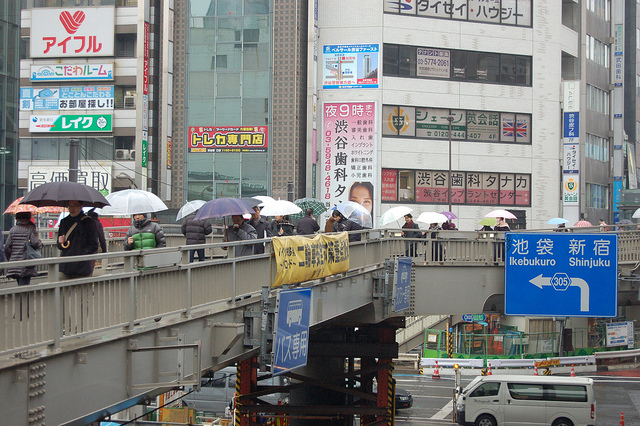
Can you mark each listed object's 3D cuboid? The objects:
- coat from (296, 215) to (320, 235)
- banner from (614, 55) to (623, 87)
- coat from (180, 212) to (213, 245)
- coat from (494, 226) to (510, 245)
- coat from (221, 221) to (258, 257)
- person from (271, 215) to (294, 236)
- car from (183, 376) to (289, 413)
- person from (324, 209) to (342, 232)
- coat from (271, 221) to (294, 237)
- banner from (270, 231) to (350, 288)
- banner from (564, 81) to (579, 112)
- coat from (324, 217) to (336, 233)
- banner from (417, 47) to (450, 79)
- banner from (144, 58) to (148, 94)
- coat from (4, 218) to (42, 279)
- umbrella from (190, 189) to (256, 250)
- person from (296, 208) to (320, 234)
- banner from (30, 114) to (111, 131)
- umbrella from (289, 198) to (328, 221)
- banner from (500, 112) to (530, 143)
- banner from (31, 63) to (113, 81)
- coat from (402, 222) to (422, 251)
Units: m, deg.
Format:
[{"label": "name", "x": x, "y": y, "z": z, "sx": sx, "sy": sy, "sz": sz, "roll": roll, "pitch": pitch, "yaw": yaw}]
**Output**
[{"label": "coat", "x": -0.676, "y": 0.625, "z": 85.536, "sx": 1.681, "sy": 1.238, "sz": 0.864, "roll": 1, "pitch": 10, "yaw": 6}, {"label": "banner", "x": 23.520, "y": -11.160, "z": 125.790, "sx": 0.630, "sy": 2.538, "sz": 1.070, "roll": 1, "pitch": 2, "yaw": 10}, {"label": "coat", "x": -6.513, "y": 0.904, "z": 85.265, "sx": 1.802, "sy": 1.591, "sz": 1.082, "roll": 4, "pitch": 2, "yaw": 27}, {"label": "coat", "x": 10.590, "y": 1.249, "z": 92.819, "sx": 0.873, "sy": 0.991, "sz": 1.833, "roll": 1, "pitch": 2, "yaw": 6}, {"label": "coat", "x": -4.197, "y": 1.466, "z": 82.528, "sx": 2.101, "sy": 2.132, "sz": 1.575, "roll": -4, "pitch": 0, "yaw": 16}, {"label": "person", "x": -1.958, "y": 0.608, "z": 84.800, "sx": 1.038, "sy": 1.045, "sz": 0.692, "roll": 1, "pitch": 2, "yaw": -3}, {"label": "car", "x": -5.421, "y": 11.171, "z": 97.281, "sx": 6.378, "sy": 2.779, "sz": 3.573, "roll": 4, "pitch": -6, "yaw": 3}, {"label": "person", "x": 0.749, "y": 0.402, "z": 88.639, "sx": 0.699, "sy": 1.848, "sz": 0.639, "roll": 1, "pitch": 27, "yaw": -17}, {"label": "coat", "x": -2.002, "y": 0.911, "z": 84.981, "sx": 1.250, "sy": 1.061, "sz": 0.661, "roll": -2, "pitch": -8, "yaw": 16}, {"label": "banner", "x": -0.482, "y": 2.393, "z": 83.279, "sx": 4.929, "sy": 2.691, "sz": 0.407, "roll": -1, "pitch": 3, "yaw": -41}, {"label": "banner", "x": 18.508, "y": -8.539, "z": 117.349, "sx": 1.082, "sy": 2.150, "sz": 0.317, "roll": 1, "pitch": 2, "yaw": 11}, {"label": "coat", "x": 0.569, "y": 0.577, "z": 86.220, "sx": 0.565, "sy": 0.817, "sz": 1.225, "roll": 1, "pitch": 2, "yaw": 0}, {"label": "banner", "x": 8.083, "y": -10.836, "z": 115.207, "sx": 2.629, "sy": 1.731, "sz": 0.097, "roll": 0, "pitch": 3, "yaw": -17}, {"label": "banner", "x": -12.329, "y": -9.663, "z": 113.080, "sx": 0.159, "sy": 2.382, "sz": 0.552, "roll": 2, "pitch": 2, "yaw": 19}, {"label": "coat", "x": -15.003, "y": 1.749, "z": 79.464, "sx": 1.871, "sy": 3.025, "sz": 1.696, "roll": 2, "pitch": 2, "yaw": 22}, {"label": "umbrella", "x": -5.104, "y": 0.126, "z": 81.703, "sx": 2.223, "sy": 1.767, "sz": 2.055, "roll": -1, "pitch": -16, "yaw": -14}, {"label": "person", "x": -0.622, "y": 0.493, "z": 85.701, "sx": 1.342, "sy": 1.569, "sz": 1.175, "roll": 0, "pitch": 24, "yaw": -11}, {"label": "banner", "x": -17.939, "y": -6.502, "z": 114.884, "sx": 5.598, "sy": 1.204, "sz": 1.067, "roll": 1, "pitch": 2, "yaw": 14}, {"label": "umbrella", "x": -0.592, "y": -0.145, "z": 89.134, "sx": 1.454, "sy": 0.506, "sz": 1.371, "roll": -5, "pitch": 10, "yaw": 10}, {"label": "banner", "x": 14.314, "y": -6.204, "z": 116.937, "sx": 2.893, "sy": 2.111, "sz": 0.130, "roll": 6, "pitch": 11, "yaw": 43}, {"label": "banner", "x": -17.731, "y": -10.066, "z": 114.505, "sx": 5.756, "sy": 1.232, "sz": 0.829, "roll": 1, "pitch": 2, "yaw": 12}, {"label": "coat", "x": 5.266, "y": 1.307, "z": 90.964, "sx": 1.097, "sy": 1.569, "sz": 2.921, "roll": 1, "pitch": 2, "yaw": 4}]
